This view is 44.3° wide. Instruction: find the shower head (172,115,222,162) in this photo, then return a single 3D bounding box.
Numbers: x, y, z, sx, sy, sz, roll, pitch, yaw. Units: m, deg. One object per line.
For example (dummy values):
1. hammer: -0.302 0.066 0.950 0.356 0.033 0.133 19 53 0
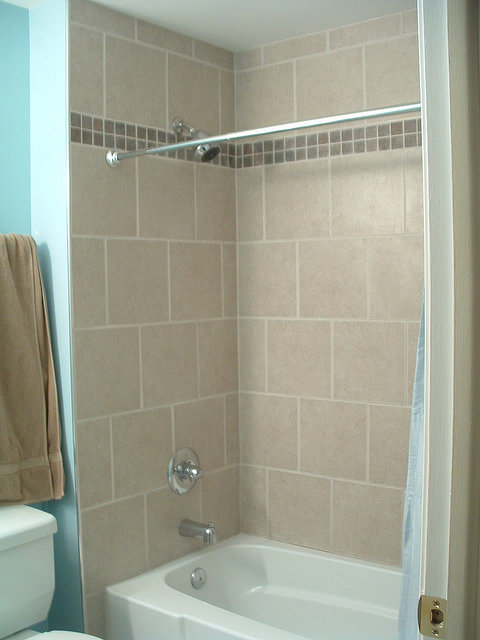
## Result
1. shower head: -0.158 -0.617 2.009 0.116 0.100 0.281 -3 42 -18
